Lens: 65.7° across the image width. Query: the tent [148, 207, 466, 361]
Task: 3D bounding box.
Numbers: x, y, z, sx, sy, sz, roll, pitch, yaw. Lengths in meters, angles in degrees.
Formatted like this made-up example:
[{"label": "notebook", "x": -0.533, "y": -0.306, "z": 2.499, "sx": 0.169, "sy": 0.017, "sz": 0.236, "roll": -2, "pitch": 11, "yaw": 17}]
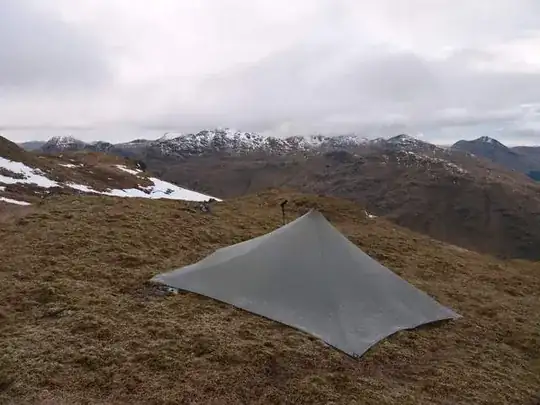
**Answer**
[{"label": "tent", "x": 1.643, "y": 3.148, "z": 15.809, "sx": 7.560, "sy": 2.062, "sz": 7.115, "roll": 16, "pitch": 15, "yaw": 31}]
